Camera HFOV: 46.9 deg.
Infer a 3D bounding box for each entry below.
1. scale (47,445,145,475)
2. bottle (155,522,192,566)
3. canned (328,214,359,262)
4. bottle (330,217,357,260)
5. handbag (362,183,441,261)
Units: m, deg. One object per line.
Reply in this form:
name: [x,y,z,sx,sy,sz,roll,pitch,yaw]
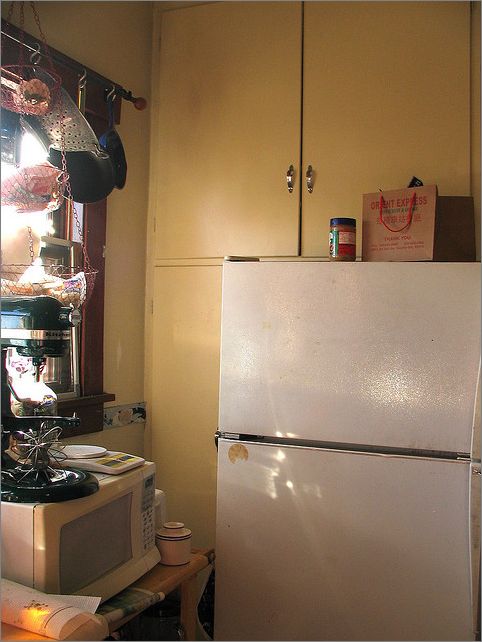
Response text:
scale: [-0.307,0.295,1.175,0.123,0.025,0.077,2,2,26]
bottle: [-0.150,0.498,1.241,0.071,0.081,0.078,0,-2,2]
canned: [0.267,-0.213,1.461,0.066,0.114,0.068,0,2,-23]
bottle: [0.266,-0.211,1.461,0.066,0.115,0.068,1,0,0]
handbag: [0.421,-0.232,1.481,0.178,0.201,0.120,-2,-13,21]
